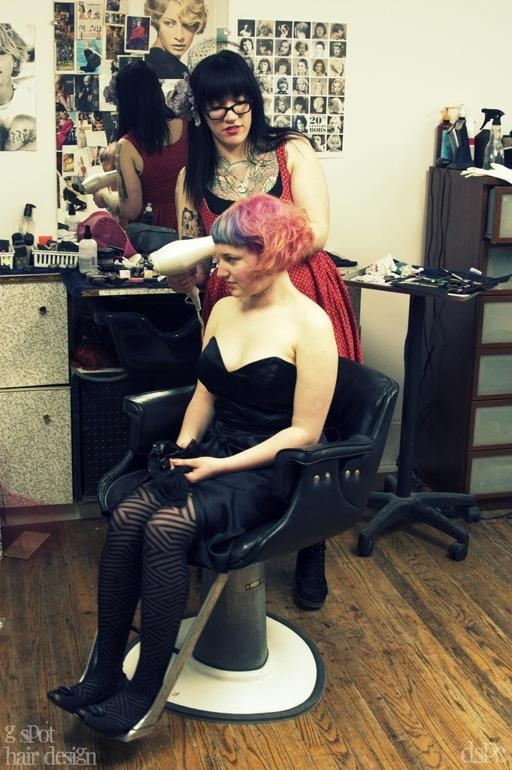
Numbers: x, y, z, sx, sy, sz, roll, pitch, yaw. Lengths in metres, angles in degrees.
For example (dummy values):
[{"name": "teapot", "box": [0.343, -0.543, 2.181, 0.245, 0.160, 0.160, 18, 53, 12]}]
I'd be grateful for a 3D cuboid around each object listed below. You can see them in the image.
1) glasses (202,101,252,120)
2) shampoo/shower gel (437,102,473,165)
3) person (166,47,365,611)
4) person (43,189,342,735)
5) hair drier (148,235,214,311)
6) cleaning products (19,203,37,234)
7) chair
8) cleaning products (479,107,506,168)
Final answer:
[{"name": "glasses", "box": [-0.064, -0.630, 1.471, 0.099, 0.038, 0.042, 1, 8, 0]}, {"name": "shampoo/shower gel", "box": [0.770, -0.959, 2.481, 0.115, 0.283, 0.224, 2, 8, 4]}, {"name": "person", "box": [0.008, -0.202, 1.760, 0.503, 1.276, 0.443, -31, 38, -31]}, {"name": "person", "box": [-0.120, 0.140, 1.217, 0.346, 0.965, 0.562, 15, 20, 42]}, {"name": "hair drier", "box": [-0.177, -0.270, 1.441, 0.216, 0.209, 0.082, -8, 24, -39]}, {"name": "cleaning products", "box": [-0.797, -0.583, 2.239, 0.053, 0.104, 0.029, -2, 9, -20]}, {"name": "chair", "box": [-0.026, 0.297, 1.370, 0.599, 0.615, 0.577, -2, 11, -14]}, {"name": "cleaning products", "box": [0.878, -0.901, 2.356, 0.074, 0.225, 0.218, 4, 9, 19]}]
